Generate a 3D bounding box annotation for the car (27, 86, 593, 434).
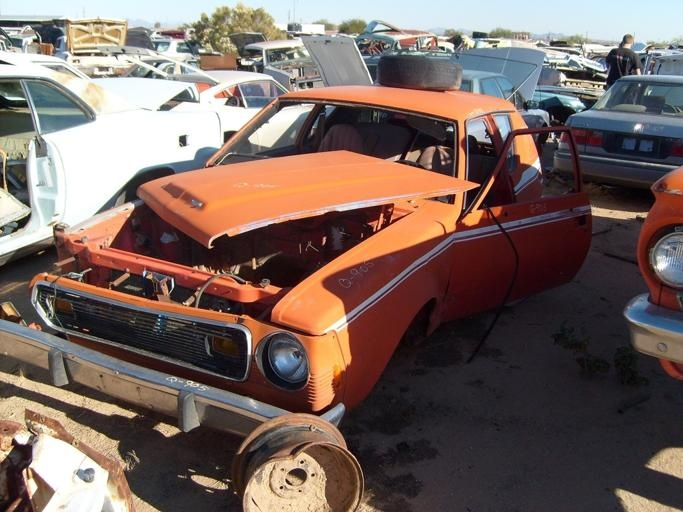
[{"bbox_3d":[0.334,-0.145,3.700,2.555,1.034,3.669,16,25,36],"label":"car"}]
